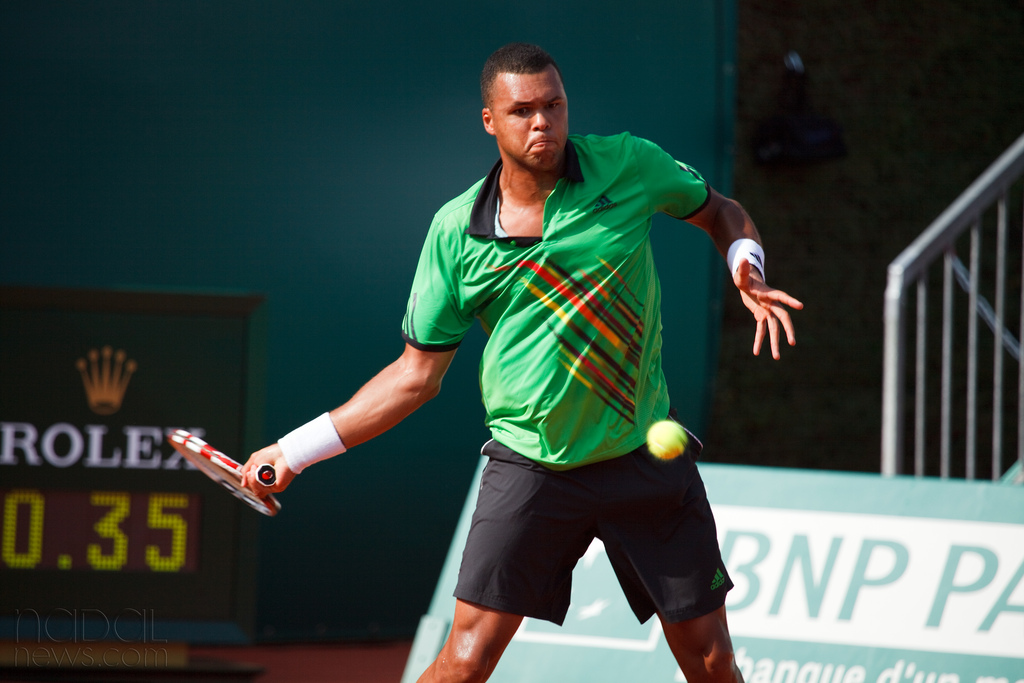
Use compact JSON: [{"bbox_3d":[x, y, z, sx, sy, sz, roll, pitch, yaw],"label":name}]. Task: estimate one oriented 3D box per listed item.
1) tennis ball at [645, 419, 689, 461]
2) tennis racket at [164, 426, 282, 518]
[{"bbox_3d":[0.657,0.415,4.886,0.148,0.159,0.155,6,21,-2],"label":"tennis ball"},{"bbox_3d":[-1.277,0.563,5.065,0.532,0.060,0.340,35,-16,0],"label":"tennis racket"}]
